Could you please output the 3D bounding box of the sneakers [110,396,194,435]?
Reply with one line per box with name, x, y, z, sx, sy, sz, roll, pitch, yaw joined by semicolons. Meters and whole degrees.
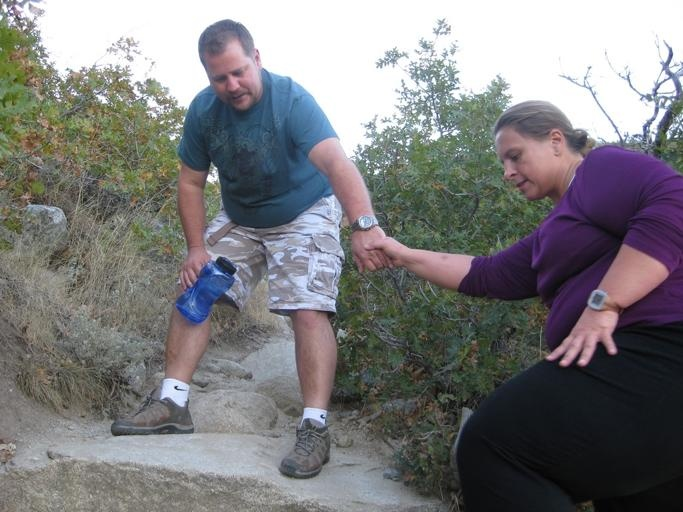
sneakers;-1.356;1.187;4.060;0.611;0.317;0.232;8;-14;-19
